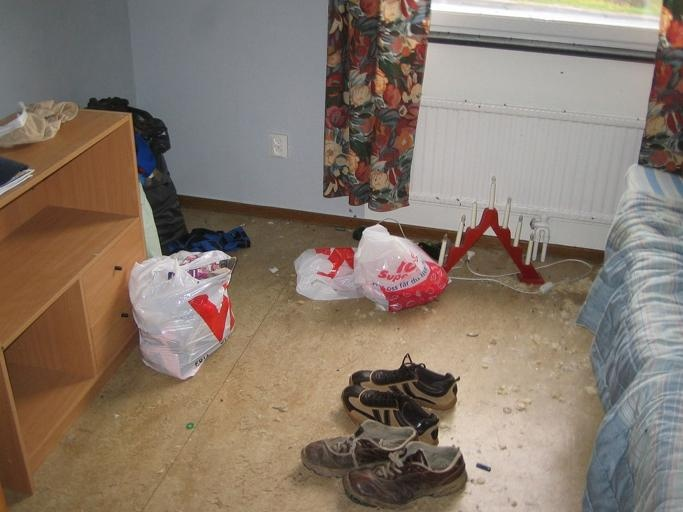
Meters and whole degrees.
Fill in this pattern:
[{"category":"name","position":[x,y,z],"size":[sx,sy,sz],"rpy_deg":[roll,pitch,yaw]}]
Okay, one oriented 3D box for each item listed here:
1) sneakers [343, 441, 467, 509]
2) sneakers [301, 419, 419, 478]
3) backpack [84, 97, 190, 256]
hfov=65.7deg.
[{"category":"sneakers","position":[0.205,0.758,1.919],"size":[0.494,0.233,0.195],"rpy_deg":[-6,35,-10]},{"category":"sneakers","position":[0.054,0.693,1.972],"size":[0.432,0.172,0.174],"rpy_deg":[-5,25,-7]},{"category":"backpack","position":[-1.027,-0.431,2.840],"size":[0.550,0.787,0.220],"rpy_deg":[8,20,20]}]
